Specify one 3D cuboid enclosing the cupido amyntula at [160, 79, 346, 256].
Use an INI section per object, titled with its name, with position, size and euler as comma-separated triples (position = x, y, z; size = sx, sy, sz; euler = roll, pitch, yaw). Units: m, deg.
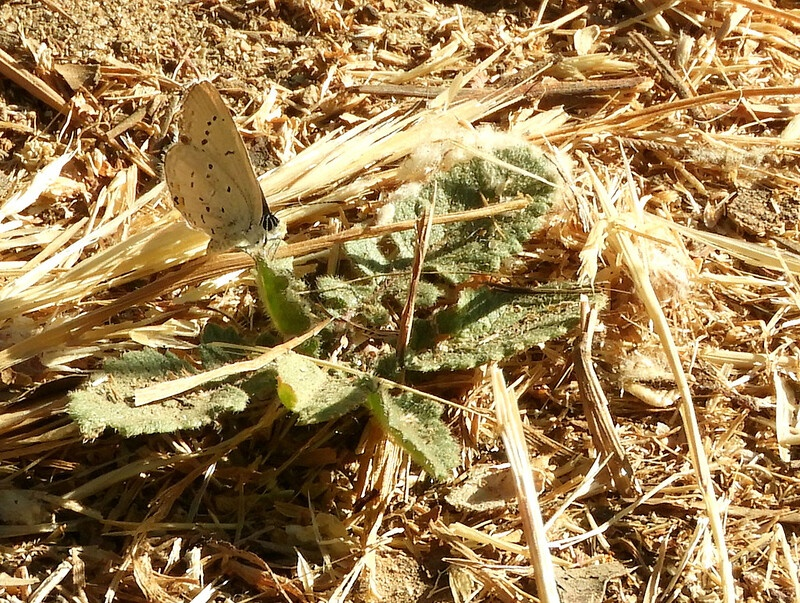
[cupido amyntula]
position = -0.403, -0.273, 1.903
size = 0.284, 0.397, 0.116
euler = 29, 53, 8
